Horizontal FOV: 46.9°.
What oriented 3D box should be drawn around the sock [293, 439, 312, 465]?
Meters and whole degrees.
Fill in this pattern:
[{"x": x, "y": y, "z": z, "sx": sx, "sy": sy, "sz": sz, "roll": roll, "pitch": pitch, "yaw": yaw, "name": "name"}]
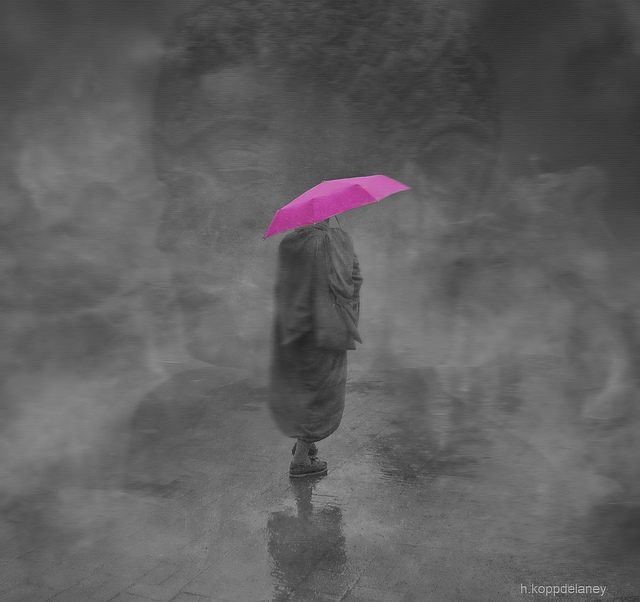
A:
[{"x": -0.124, "y": 1.275, "z": 6.250, "sx": 0.161, "sy": 0.188, "sz": 0.187, "roll": 6, "pitch": 66, "yaw": -2, "name": "sock"}]
